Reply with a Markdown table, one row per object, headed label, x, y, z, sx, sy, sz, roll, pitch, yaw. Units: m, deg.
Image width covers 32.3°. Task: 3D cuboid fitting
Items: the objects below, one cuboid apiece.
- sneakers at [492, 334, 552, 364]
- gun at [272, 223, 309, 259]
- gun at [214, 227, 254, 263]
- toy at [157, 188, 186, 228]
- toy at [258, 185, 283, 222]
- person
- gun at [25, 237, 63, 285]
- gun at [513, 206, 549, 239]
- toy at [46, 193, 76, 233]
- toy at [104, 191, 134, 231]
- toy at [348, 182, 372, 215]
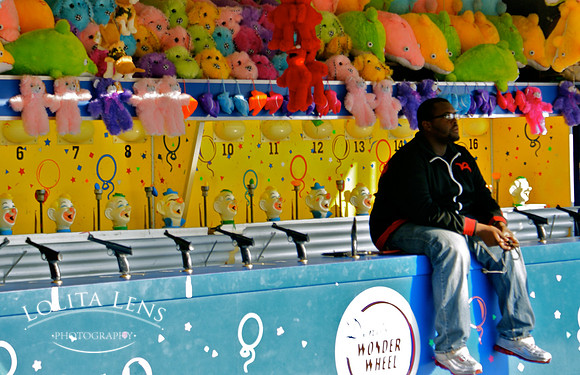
| label | x | y | z | sx | sy | sz | roll | pitch | yaw |
| --- | --- | --- | --- | --- | --- | --- | --- | --- | --- |
| sneakers | 1.638 | 1.141 | 7.165 | 0.427 | 0.226 | 0.163 | 10 | 8 | 20 |
| gun | -0.010 | 0.420 | 7.696 | 0.254 | 0.190 | 0.043 | 12 | -4 | 40 |
| gun | -0.389 | 0.409 | 7.050 | 0.242 | 0.242 | 0.633 | -3 | 1 | -5 |
| toy | -1.010 | 0.175 | 8.436 | 0.220 | 0.301 | 0.118 | -3 | 1 | -3 |
| toy | -0.172 | 0.141 | 8.781 | 0.221 | 0.420 | 0.306 | -2 | 0 | 15 |
| person | 1.152 | 0.319 | 7.108 | 1.166 | 1.577 | 0.559 | -3 | 1 | 4 |
| gun | -1.577 | 0.487 | 6.537 | 0.137 | 0.294 | 0.453 | -3 | 1 | -29 |
| gun | 2.006 | 0.302 | 8.379 | 0.025 | 0.188 | 0.233 | 9 | 4 | -33 |
| toy | -1.836 | 0.195 | 8.213 | 0.224 | 0.389 | 0.312 | -2 | -1 | 15 |
| toy | -1.422 | 0.196 | 8.272 | 0.220 | 0.284 | 0.191 | -3 | 1 | 8 |
| toy | 0.663 | 0.100 | 9.180 | 0.231 | 0.337 | 0.243 | -4 | 2 | 6 |
